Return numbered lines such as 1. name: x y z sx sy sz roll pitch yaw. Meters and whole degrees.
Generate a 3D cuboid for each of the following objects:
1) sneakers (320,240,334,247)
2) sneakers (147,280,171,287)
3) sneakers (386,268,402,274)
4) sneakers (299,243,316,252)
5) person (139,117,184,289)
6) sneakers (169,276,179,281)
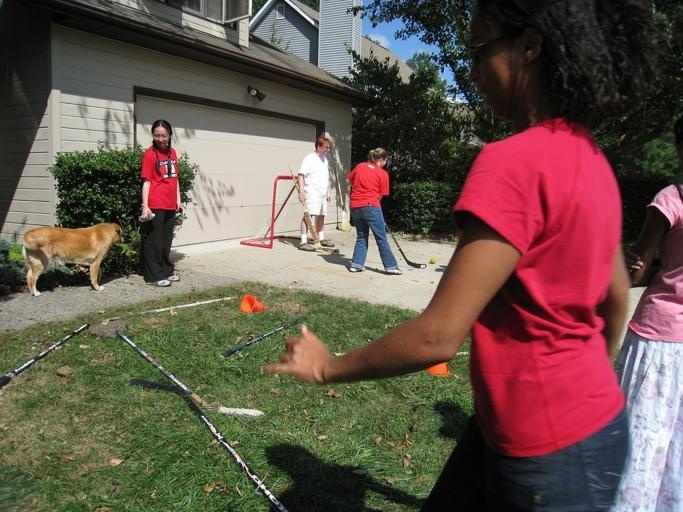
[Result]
1. sneakers: -0.334 -0.287 11.693 0.271 0.099 0.159 0 12 -5
2. sneakers: -2.866 0.404 7.473 0.302 0.134 0.131 3 4 11
3. sneakers: 1.000 0.290 9.124 0.286 0.127 0.118 0 10 6
4. sneakers: -0.793 -0.190 11.213 0.317 0.137 0.188 4 16 20
5. person: -2.798 -0.790 7.406 0.603 2.501 0.680 -1 12 -20
6. sneakers: -2.703 0.363 7.712 0.160 0.071 0.056 2 -1 1
